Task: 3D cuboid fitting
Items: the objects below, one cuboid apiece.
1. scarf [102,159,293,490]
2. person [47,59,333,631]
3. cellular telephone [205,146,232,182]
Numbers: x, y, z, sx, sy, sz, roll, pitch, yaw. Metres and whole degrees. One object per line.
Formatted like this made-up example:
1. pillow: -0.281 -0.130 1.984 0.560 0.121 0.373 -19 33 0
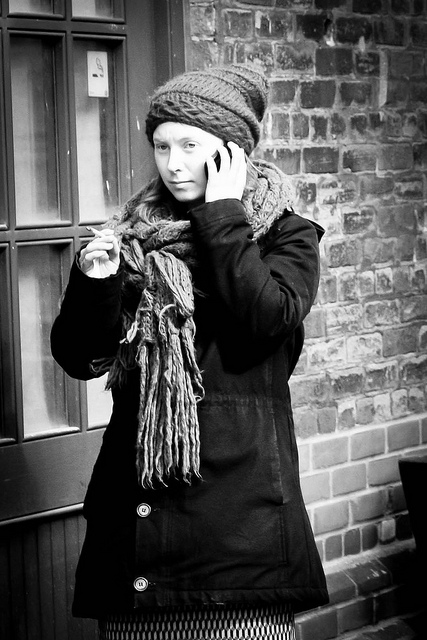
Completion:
1. scarf: -0.108 0.001 1.295 0.138 0.568 0.247 1 -11 -16
2. person: -0.034 0.031 1.279 0.486 0.994 0.322 0 -10 -11
3. cellular telephone: -0.001 -0.268 1.263 0.041 0.063 0.022 6 12 5
